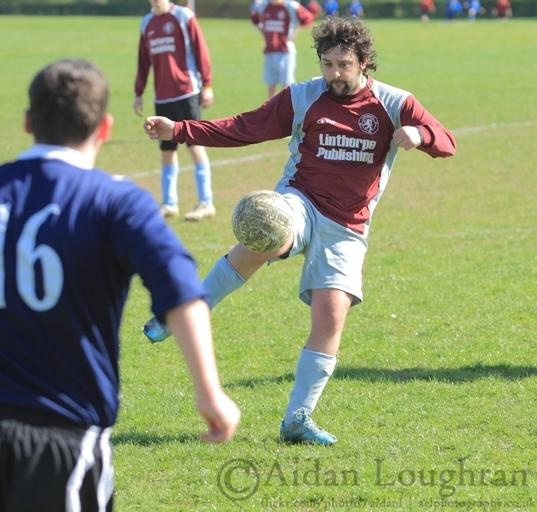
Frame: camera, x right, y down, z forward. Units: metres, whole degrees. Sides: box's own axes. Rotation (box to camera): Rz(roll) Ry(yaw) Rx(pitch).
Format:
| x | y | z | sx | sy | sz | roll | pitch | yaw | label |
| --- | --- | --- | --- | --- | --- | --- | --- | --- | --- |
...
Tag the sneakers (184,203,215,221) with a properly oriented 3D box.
| x | y | z | sx | sy | sz | roll | pitch | yaw | label |
| --- | --- | --- | --- | --- | --- | --- | --- | --- | --- |
| -0.530 | -0.353 | 9.276 | 0.101 | 0.123 | 0.295 | -2 | 2 | 38 | sneakers |
